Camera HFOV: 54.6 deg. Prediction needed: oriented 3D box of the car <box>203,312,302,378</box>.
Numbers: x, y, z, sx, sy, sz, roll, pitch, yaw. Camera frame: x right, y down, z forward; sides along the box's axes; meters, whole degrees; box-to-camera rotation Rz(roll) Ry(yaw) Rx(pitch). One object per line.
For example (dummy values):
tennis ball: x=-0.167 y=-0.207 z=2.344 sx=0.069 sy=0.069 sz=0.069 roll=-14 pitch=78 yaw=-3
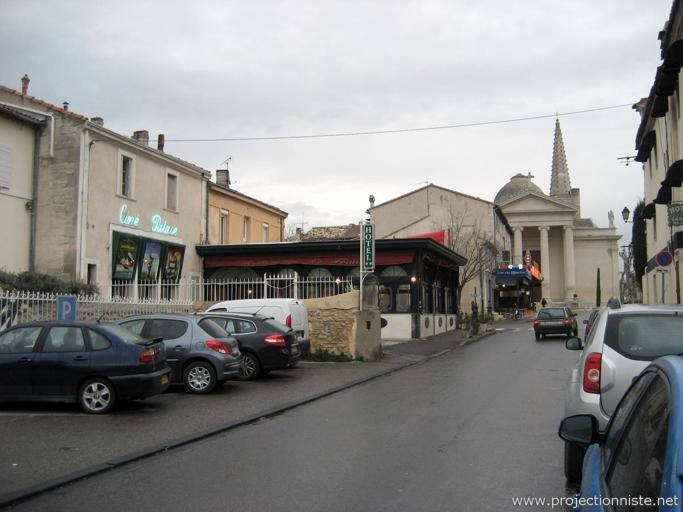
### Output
car: x=-2.229 y=2.203 z=16.640 sx=2.458 sy=1.020 sz=1.250 roll=2 pitch=-5 yaw=6

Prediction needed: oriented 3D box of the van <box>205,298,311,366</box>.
van: x=-2.255 y=2.109 z=18.944 sx=2.492 sy=1.461 sz=1.584 roll=2 pitch=-5 yaw=5

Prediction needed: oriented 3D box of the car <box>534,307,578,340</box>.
car: x=10.374 y=3.324 z=32.487 sx=1.257 sy=0.954 sz=2.680 roll=-2 pitch=-1 yaw=17
